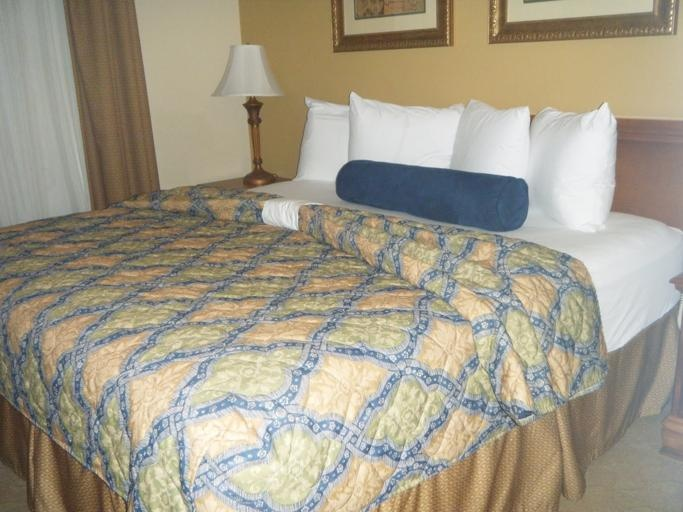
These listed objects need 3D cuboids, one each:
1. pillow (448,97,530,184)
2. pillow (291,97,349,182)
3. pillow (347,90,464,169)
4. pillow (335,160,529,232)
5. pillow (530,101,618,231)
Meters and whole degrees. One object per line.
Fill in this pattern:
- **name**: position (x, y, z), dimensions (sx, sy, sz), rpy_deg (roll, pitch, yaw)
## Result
- **pillow**: position (0.724, -0.567, 2.790), dimensions (0.228, 0.373, 0.442), rpy_deg (-10, 20, -42)
- **pillow**: position (-0.093, -0.731, 3.561), dimensions (0.452, 0.480, 0.148), rpy_deg (7, 3, 39)
- **pillow**: position (0.370, -0.695, 3.133), dimensions (0.594, 0.470, 0.207), rpy_deg (11, 16, 23)
- **pillow**: position (0.418, -0.309, 2.744), dimensions (0.998, 0.253, 0.279), rpy_deg (15, -5, 43)
- **pillow**: position (1.046, -0.434, 2.570), dimensions (0.265, 0.529, 0.476), rpy_deg (-13, 25, -31)
